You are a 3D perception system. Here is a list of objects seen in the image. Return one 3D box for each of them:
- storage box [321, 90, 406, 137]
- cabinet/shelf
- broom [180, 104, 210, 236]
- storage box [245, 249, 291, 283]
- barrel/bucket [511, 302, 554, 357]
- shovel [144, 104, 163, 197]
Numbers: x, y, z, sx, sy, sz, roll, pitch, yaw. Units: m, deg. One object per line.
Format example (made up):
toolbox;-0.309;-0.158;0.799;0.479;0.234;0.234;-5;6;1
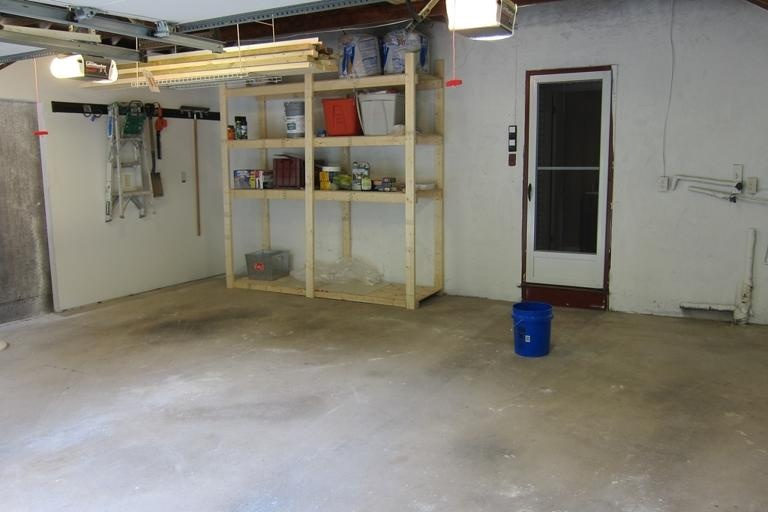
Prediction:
storage box;-0.294;-1.810;7.225;0.935;0.393;0.602;1;9;19
cabinet/shelf;-0.624;-1.024;7.635;3.368;2.957;1.107;4;8;24
broom;-2.879;-1.277;8.568;0.153;1.939;0.469;4;11;19
storage box;-1.772;0.119;8.468;0.526;0.352;0.516;2;8;19
barrel/bucket;1.533;0.777;5.812;0.467;0.451;0.473;0;3;0
shovel;-3.274;-1.430;7.969;0.141;1.170;0.258;6;7;11
